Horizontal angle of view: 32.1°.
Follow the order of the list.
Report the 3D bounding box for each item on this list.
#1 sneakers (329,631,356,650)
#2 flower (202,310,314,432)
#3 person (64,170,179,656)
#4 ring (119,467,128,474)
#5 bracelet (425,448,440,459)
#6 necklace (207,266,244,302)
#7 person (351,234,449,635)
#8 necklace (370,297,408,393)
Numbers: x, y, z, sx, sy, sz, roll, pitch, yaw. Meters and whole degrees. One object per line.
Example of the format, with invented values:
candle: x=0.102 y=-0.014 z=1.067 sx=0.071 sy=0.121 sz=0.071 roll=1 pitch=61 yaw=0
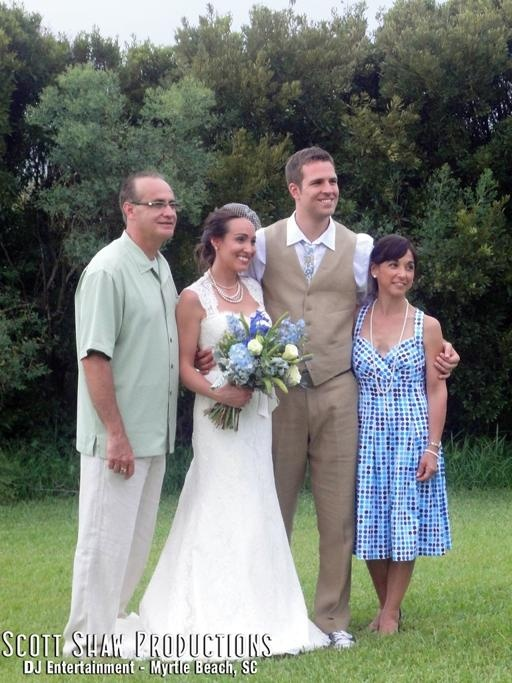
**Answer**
sneakers: x=0.442 y=1.546 z=4.625 sx=0.133 sy=0.050 sz=0.159 roll=0 pitch=0 yaw=5
flower: x=-0.001 y=0.153 z=4.548 sx=0.517 sy=0.622 sz=0.435 roll=0 pitch=1 yaw=-4
person: x=-0.659 y=0.343 z=4.511 sx=0.591 sy=2.411 sz=0.362 roll=-1 pitch=1 yaw=-43
ring: x=-0.640 y=0.624 z=4.319 sx=0.034 sy=0.017 sz=0.046 roll=23 pitch=-34 yaw=-33
bracelet: x=0.944 y=0.590 z=4.759 sx=0.068 sy=0.032 sz=0.051 roll=29 pitch=1 yaw=33
necklace: x=-0.164 y=-0.293 z=4.827 sx=0.153 sy=0.181 sz=0.038 roll=-16 pitch=-5 yaw=-46
person: x=0.781 y=0.500 z=4.824 sx=0.526 sy=2.161 sz=0.389 roll=0 pitch=1 yaw=7
necklace: x=0.722 y=0.034 z=4.808 sx=0.129 sy=0.452 sz=0.459 roll=9 pitch=-31 yaw=4
